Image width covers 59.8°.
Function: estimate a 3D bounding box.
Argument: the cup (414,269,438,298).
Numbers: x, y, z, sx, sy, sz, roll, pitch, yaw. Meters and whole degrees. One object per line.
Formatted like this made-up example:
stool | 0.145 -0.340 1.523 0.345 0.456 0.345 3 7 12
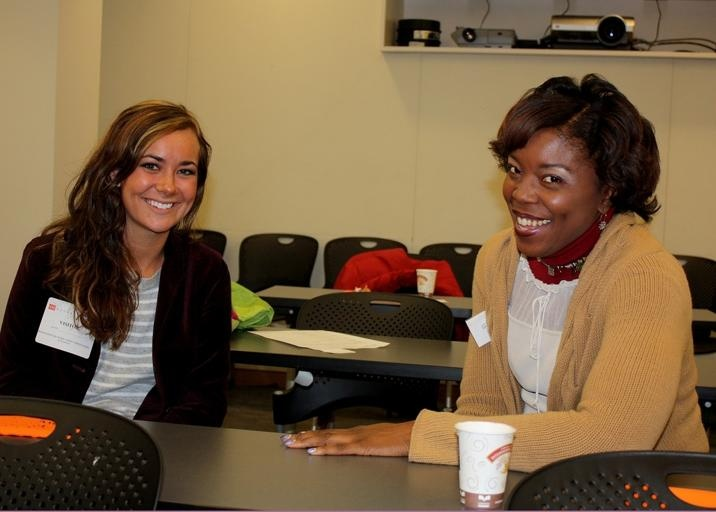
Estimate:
cup | 0.380 0.153 3.573 0.143 0.160 0.141 1 -5 0
